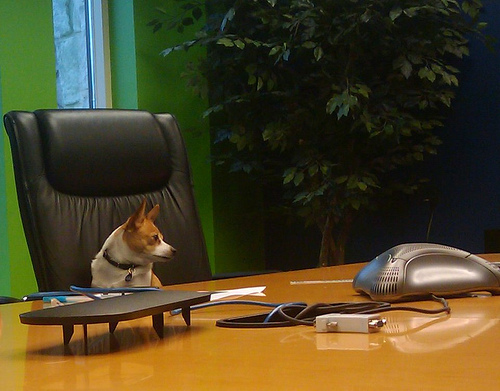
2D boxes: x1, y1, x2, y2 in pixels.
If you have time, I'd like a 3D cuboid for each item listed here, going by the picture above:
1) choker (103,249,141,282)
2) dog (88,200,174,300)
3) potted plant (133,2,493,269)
[{"bbox_3d":[-0.342,0.173,1.285,0.081,0.059,0.070,20,-8,19],"label":"choker"},{"bbox_3d":[-0.356,0.181,1.411,0.288,0.312,0.199,-2,-3,17],"label":"dog"},{"bbox_3d":[0.389,-0.465,3.269,1.867,2.101,1.613,1,4,19],"label":"potted plant"}]
